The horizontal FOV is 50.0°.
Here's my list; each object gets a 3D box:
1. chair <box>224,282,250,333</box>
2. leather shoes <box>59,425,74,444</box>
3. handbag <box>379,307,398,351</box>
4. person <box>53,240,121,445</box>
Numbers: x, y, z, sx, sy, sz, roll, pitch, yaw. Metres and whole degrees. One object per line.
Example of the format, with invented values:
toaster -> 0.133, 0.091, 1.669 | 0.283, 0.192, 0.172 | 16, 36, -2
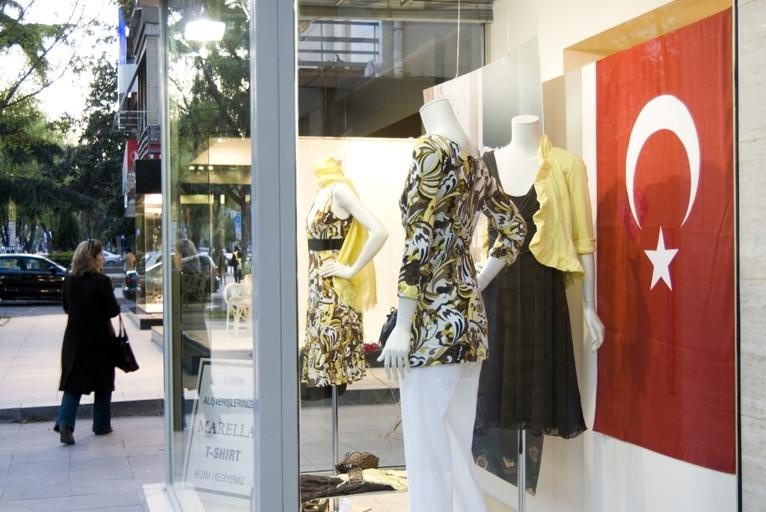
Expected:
chair -> -0.671, 0.222, 3.775 | 0.103, 0.168, 0.115 | -8, 13, -13
leather shoes -> -2.511, 1.421, 6.475 | 0.062, 0.152, 0.204 | -1, -1, 6
handbag -> 0.018, 0.350, 3.847 | 0.069, 0.187, 0.199 | 1, 0, -1
person -> -2.320, 0.685, 6.440 | 0.424, 1.489, 0.481 | 1, 0, -35
